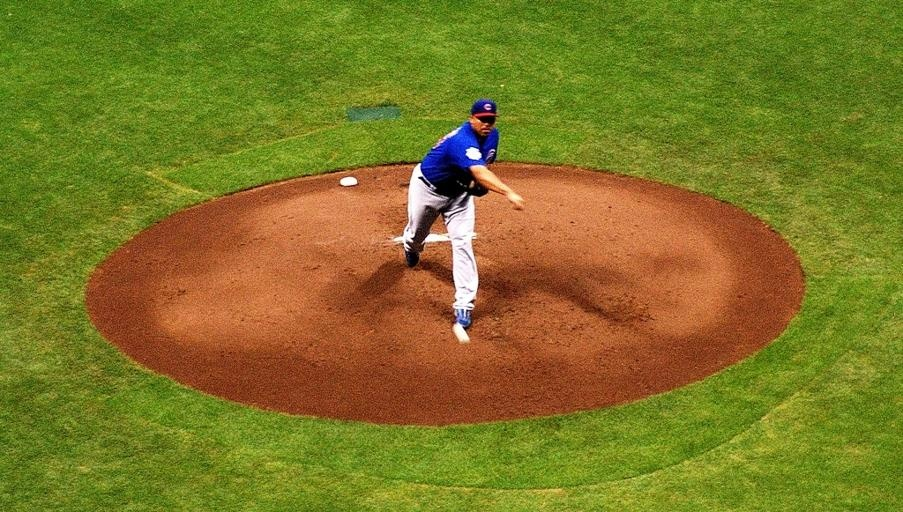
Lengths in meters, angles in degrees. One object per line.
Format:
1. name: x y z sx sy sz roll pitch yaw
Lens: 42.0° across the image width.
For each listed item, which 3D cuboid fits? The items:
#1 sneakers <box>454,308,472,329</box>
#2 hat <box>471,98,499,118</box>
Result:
1. sneakers: 0.174 1.119 20.891 0.319 0.228 0.329 1 81 1
2. hat: 0.527 -2.595 20.548 0.448 0.512 0.239 6 95 -7
